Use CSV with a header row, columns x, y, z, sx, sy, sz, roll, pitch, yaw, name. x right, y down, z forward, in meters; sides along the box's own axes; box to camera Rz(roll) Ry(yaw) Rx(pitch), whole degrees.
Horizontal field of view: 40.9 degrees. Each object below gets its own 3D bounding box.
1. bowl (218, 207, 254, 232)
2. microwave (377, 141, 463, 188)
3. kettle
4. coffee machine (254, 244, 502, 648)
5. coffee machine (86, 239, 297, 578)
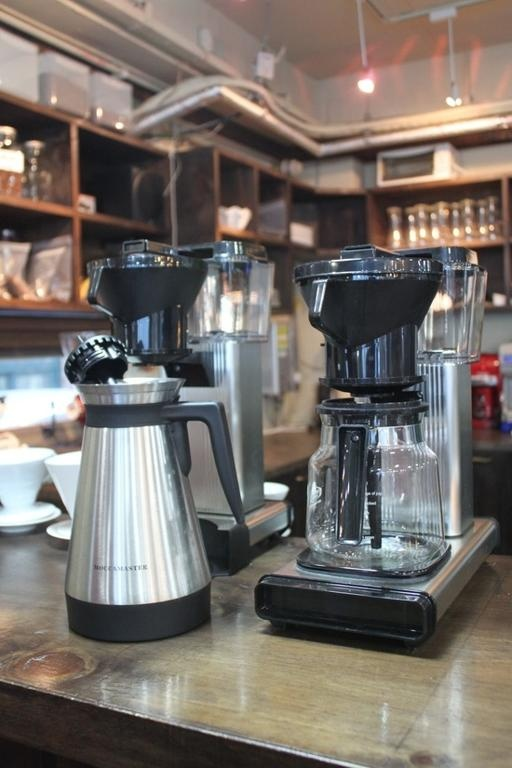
x,y,z,sx,sy,sz,roll,pitch,yaw,name
-0.081,-0.673,2.847,0.144,0.091,0.140,0,1,0,bowl
0.723,-0.985,3.151,0.350,0.161,0.256,1,9,22,microwave
-0.122,0.131,0.717,0.154,0.273,0.094,-2,3,-17,kettle
0.155,0.042,0.846,0.197,0.431,0.403,0,3,27,coffee machine
-0.106,0.030,0.995,0.422,0.431,0.322,-3,-3,38,coffee machine
